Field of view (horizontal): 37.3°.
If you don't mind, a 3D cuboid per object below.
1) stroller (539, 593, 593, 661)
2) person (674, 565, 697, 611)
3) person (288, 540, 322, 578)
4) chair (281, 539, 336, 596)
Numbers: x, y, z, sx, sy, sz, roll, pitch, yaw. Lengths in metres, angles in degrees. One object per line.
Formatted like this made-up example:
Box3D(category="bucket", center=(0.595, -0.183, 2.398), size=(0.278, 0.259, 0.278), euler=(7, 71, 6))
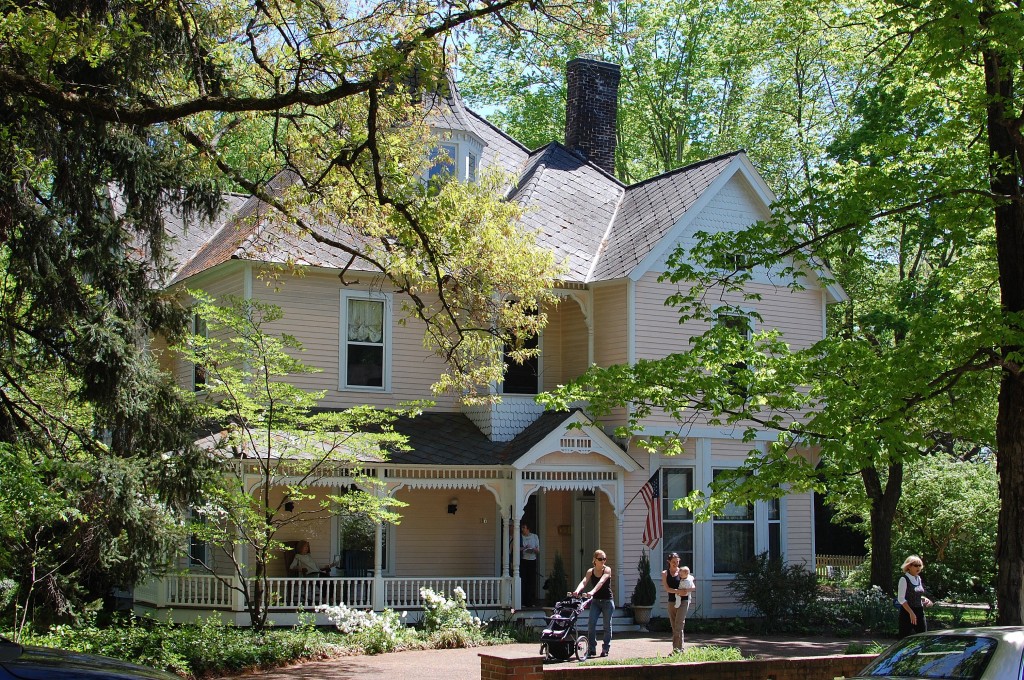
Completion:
Box3D(category="stroller", center=(1.400, 6.216, 32.141), size=(0.786, 1.422, 1.420), euler=(-9, -20, 36))
Box3D(category="person", center=(3.729, 5.463, 33.049), size=(0.390, 0.889, 0.806), euler=(-1, -12, 5))
Box3D(category="person", center=(-5.078, 5.483, 37.242), size=(0.683, 0.987, 0.845), euler=(2, 12, 33))
Box3D(category="chair", center=(-5.134, 5.636, 37.064), size=(1.172, 1.465, 1.149), euler=(0, -5, 21))
